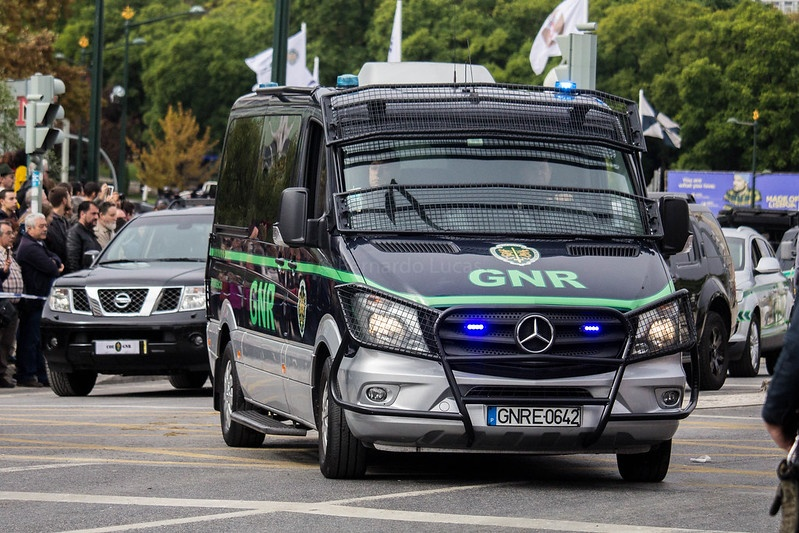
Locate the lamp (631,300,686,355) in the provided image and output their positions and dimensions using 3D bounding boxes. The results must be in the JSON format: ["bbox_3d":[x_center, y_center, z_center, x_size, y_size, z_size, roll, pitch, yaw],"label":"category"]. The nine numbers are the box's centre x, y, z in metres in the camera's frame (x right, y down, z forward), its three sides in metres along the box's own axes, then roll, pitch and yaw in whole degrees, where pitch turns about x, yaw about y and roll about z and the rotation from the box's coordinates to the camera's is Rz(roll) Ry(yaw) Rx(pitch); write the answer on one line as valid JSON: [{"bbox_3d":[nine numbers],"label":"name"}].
[{"bbox_3d":[2.139,0.533,10.158,0.445,0.431,0.120,-10,14,-31],"label":"lamp"}]

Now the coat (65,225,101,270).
[{"bbox_3d":[-4.825,-0.256,18.698,0.232,0.600,0.663,-3,1,22],"label":"coat"}]

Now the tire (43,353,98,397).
[{"bbox_3d":[-4.539,1.503,17.034,0.252,0.670,0.663,1,2,15],"label":"tire"}]

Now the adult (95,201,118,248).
[{"bbox_3d":[-4.725,-0.648,19.786,0.327,0.640,0.684,-1,12,-3],"label":"adult"}]

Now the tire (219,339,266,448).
[{"bbox_3d":[-1.566,1.298,12.371,0.292,0.894,0.884,-2,23,-16],"label":"tire"}]

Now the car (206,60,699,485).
[{"bbox_3d":[0.316,0.061,11.059,4.540,3.696,2.542,-1,2,15],"label":"car"}]

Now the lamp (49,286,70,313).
[{"bbox_3d":[-4.658,0.460,16.889,0.324,0.320,0.325,1,-3,-17],"label":"lamp"}]

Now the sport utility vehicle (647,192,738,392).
[{"bbox_3d":[4.394,0.478,18.537,1.856,1.983,3.398,-1,-3,15],"label":"sport utility vehicle"}]

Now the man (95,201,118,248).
[{"bbox_3d":[-4.725,-0.648,19.786,0.327,0.640,0.684,-1,12,-3],"label":"man"}]

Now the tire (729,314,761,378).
[{"bbox_3d":[5.548,1.259,19.908,0.336,1.018,1.008,-3,6,23],"label":"tire"}]

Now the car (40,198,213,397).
[{"bbox_3d":[-3.657,0.522,17.782,1.801,1.917,3.326,-1,-6,4],"label":"car"}]
